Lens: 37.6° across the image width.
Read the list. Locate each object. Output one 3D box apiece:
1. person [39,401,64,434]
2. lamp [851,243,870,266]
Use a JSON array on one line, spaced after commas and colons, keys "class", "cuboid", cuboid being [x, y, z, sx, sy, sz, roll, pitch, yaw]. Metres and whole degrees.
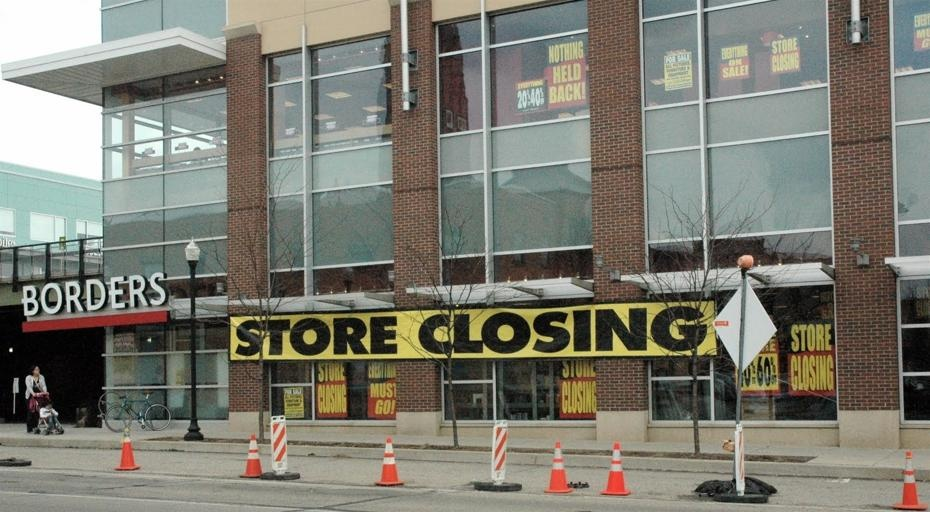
[{"class": "person", "cuboid": [-17.600, 6.885, 57.969, 1.086, 1.378, 0.771, -2, -9, -7]}, {"class": "lamp", "cuboid": [14.961, -0.059, 51.548, 0.604, 1.040, 0.267, -2, -10, -10]}]
